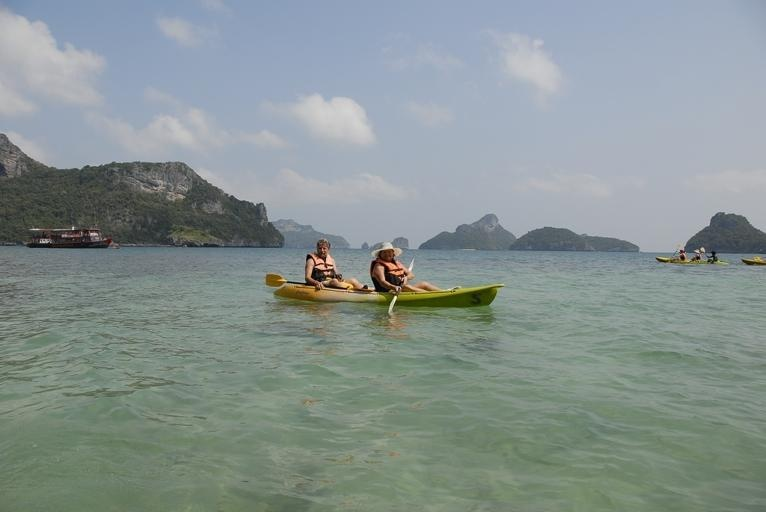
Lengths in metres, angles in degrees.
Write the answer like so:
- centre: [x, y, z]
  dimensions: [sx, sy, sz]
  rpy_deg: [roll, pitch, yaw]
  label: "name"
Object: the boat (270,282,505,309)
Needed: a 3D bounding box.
- centre: [-0.362, 1.203, 16.482]
  dimensions: [7.801, 0.954, 1.915]
  rpy_deg: [-1, -4, 11]
  label: "boat"
